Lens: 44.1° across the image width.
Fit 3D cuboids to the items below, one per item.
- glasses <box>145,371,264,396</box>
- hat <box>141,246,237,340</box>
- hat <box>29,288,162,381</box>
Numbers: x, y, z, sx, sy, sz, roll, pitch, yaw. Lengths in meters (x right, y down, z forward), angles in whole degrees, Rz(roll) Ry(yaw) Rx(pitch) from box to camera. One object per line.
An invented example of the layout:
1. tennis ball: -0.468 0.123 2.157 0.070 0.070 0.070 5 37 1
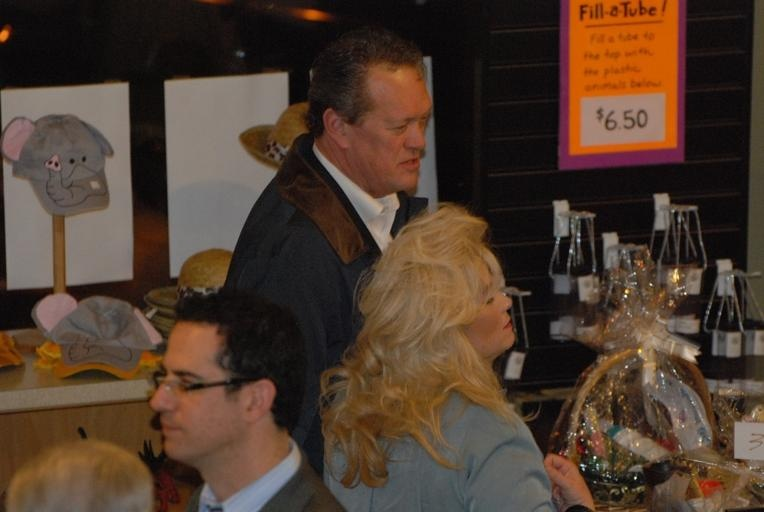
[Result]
1. glasses: -0.550 0.405 3.000 0.195 0.062 0.159 0 -2 -17
2. hat: -0.853 0.134 4.078 0.319 0.141 0.359 -5 12 25
3. hat: -1.221 0.337 4.003 0.518 0.347 0.150 0 -3 -19
